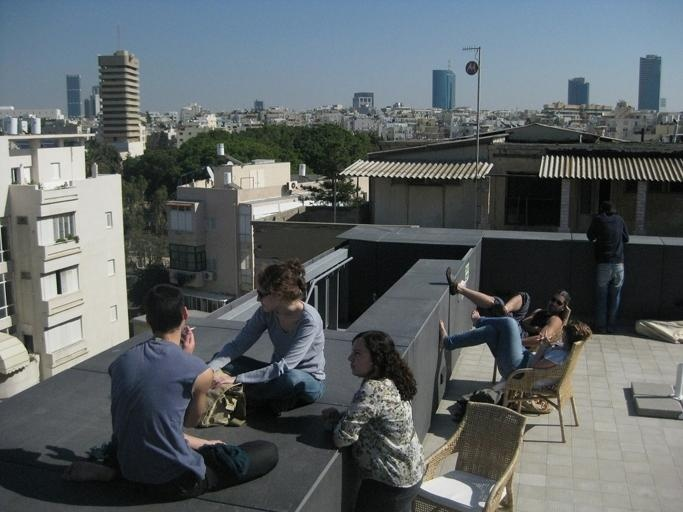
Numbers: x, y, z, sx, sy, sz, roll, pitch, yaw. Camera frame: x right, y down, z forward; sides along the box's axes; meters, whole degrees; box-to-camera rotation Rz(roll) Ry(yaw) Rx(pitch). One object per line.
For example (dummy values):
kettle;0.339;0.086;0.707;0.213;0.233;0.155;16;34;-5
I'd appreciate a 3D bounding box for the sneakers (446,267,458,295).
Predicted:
sneakers;1.247;0.309;7.025;0.124;0.346;0.117;-5;9;18

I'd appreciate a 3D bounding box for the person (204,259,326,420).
person;-0.538;0.583;4.571;0.896;1.106;1.002;6;4;43

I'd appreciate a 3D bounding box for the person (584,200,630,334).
person;3.912;0.134;9.241;0.554;1.889;0.612;8;15;25

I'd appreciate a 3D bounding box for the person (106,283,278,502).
person;-1.019;0.772;3.819;1.076;1.192;0.902;3;3;33

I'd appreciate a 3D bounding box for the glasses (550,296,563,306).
glasses;2.491;0.518;7.202;0.093;0.044;0.100;24;10;12
